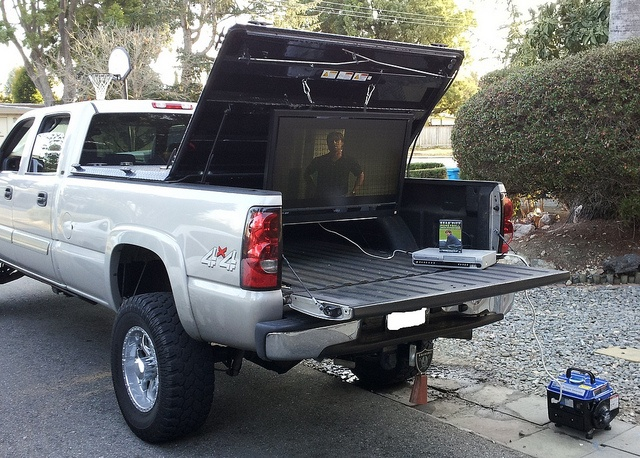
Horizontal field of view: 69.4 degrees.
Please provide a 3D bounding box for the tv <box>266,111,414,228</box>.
[{"bbox_3d":[0.154,-0.583,4.170,1.209,0.747,0.112,0,15,-29],"label":"tv"}]
